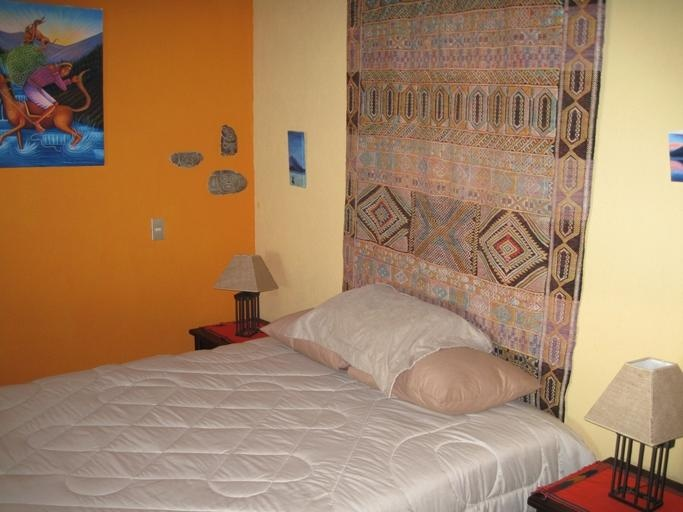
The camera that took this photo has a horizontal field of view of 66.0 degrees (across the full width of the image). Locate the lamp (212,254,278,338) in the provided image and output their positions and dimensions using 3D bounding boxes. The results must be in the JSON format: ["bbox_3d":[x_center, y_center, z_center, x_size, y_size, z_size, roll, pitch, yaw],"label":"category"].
[{"bbox_3d":[-0.700,0.292,3.804,0.450,0.541,0.408,-1,1,7],"label":"lamp"}]
